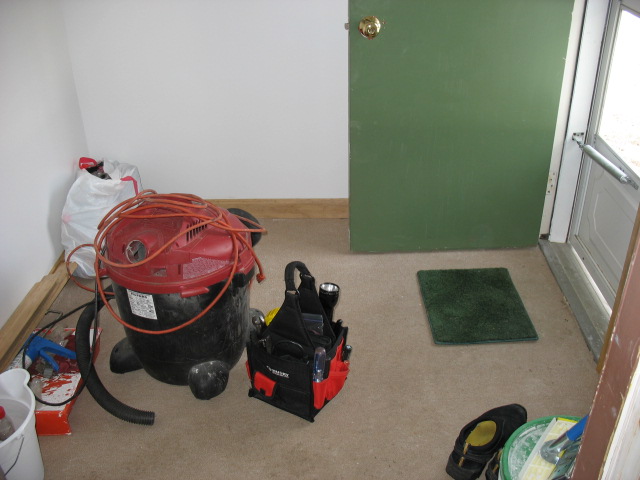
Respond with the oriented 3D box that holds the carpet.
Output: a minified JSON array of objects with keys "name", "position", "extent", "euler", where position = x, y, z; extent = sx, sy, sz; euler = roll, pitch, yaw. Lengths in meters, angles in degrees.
[{"name":"carpet","position":[0.800,0.337,2.733],"extent":[0.500,0.064,0.517],"euler":[-1,33,0]}]

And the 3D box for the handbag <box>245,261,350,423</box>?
[{"name":"handbag","position":[-0.103,0.384,2.179],"extent":[0.453,0.690,0.338],"euler":[0,32,3]}]
